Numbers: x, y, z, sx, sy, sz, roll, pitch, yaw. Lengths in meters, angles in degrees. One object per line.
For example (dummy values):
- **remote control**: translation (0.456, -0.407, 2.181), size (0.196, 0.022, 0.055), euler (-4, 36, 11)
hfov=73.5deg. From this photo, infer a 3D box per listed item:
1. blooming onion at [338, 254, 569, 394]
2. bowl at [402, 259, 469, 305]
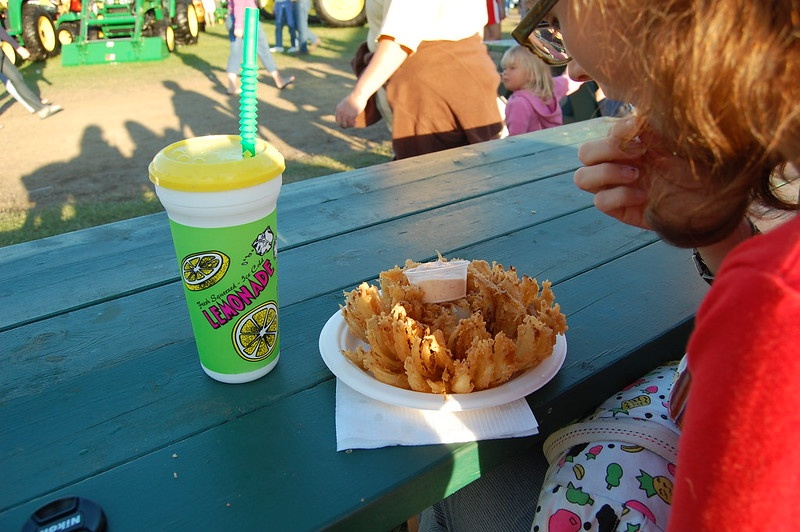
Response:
- **blooming onion**: translation (0.084, 0.096, 0.845), size (0.265, 0.096, 0.239), euler (2, 22, 17)
- **bowl**: translation (0.065, 0.016, 0.873), size (0.081, 0.042, 0.078), euler (-9, 10, 2)
